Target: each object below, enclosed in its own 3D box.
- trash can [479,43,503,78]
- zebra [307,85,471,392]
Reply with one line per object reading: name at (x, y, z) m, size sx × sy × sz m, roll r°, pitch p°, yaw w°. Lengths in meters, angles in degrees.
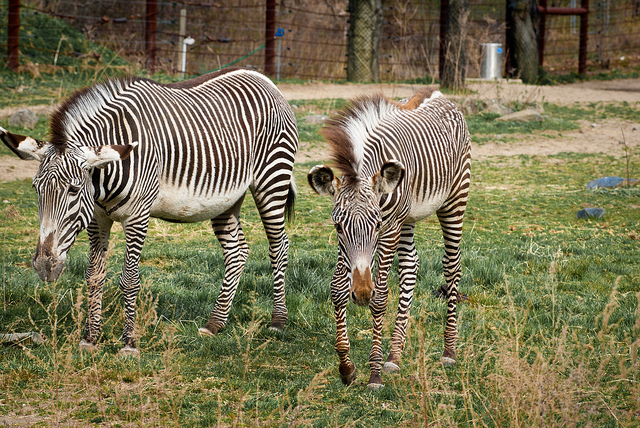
trash can at (4.357, -3.846, 25.270) m, size 0.686 × 0.962 × 0.720 m, roll 0°, pitch 3°, yaw 5°
zebra at (0.938, 0.311, 13.426) m, size 2.298 × 4.007 × 1.036 m, roll -1°, pitch 5°, yaw -36°
